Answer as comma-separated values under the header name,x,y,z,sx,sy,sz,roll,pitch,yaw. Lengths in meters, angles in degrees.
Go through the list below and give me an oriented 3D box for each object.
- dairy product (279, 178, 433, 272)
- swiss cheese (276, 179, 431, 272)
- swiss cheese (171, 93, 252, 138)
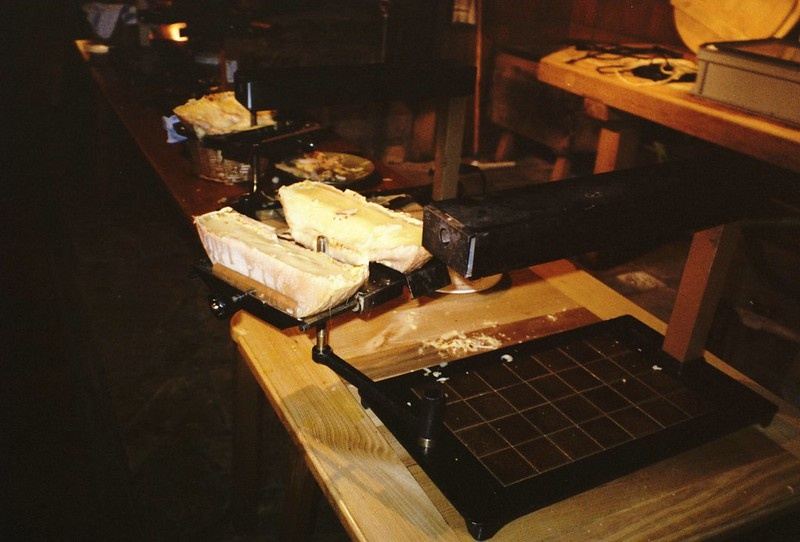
name,x,y,z,sx,sy,sz,roll,pitch,yaw
dairy product,-0.129,-0.130,1.759,0.428,0.083,0.242,21,36,30
swiss cheese,-0.118,-0.133,1.761,0.428,0.083,0.244,21,36,30
swiss cheese,-0.735,-0.619,2.497,0.340,0.059,0.331,-19,36,-35
